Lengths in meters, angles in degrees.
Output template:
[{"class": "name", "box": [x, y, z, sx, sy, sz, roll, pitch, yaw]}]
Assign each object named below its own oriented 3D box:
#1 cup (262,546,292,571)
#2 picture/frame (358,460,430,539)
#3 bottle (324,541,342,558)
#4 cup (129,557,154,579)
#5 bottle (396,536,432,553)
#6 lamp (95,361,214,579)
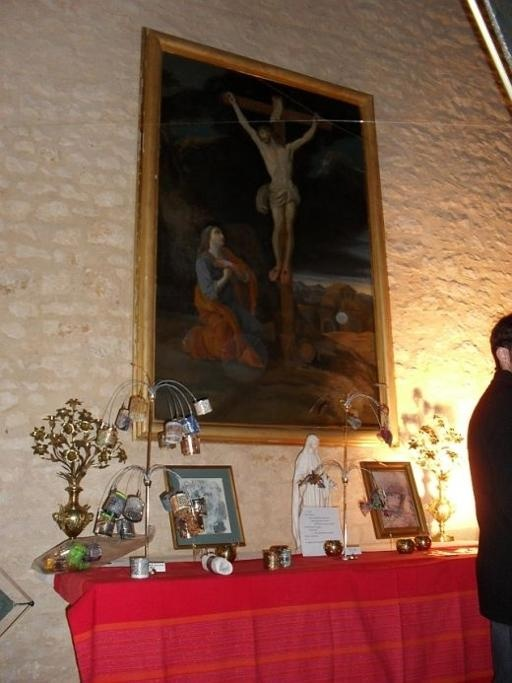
[{"class": "cup", "box": [0.092, 0.923, 2.645, 0.112, 0.074, 0.075, 0, -3, -27]}, {"class": "picture/frame", "box": [0.814, 0.958, 3.725, 0.541, 0.526, 0.059, 7, -30, -41]}, {"class": "bottle", "box": [0.379, 1.004, 3.003, 0.083, 0.061, 0.072, 2, -3, -11]}, {"class": "cup", "box": [-0.430, 0.841, 2.314, 0.078, 0.084, 0.100, -8, -19, 24]}, {"class": "bottle", "box": [0.824, 1.050, 3.215, 0.208, 0.068, 0.087, 14, -15, -35]}, {"class": "lamp", "box": [-0.474, 0.627, 2.765, 0.435, 0.908, 0.390, 11, 11, 34]}]
